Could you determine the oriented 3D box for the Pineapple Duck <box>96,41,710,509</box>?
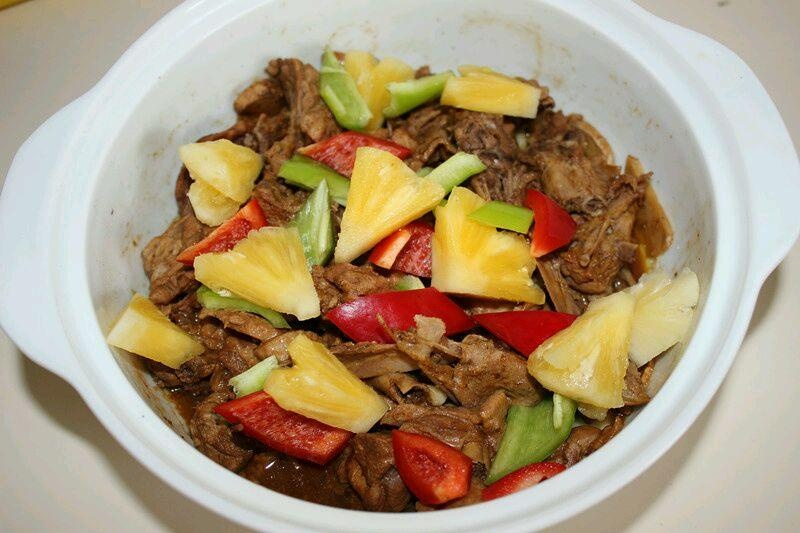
[{"bbox_3d":[-0.007,-0.013,3.416,2.425,0.585,2.079,-15,84,0],"label":"Pineapple Duck"}]
